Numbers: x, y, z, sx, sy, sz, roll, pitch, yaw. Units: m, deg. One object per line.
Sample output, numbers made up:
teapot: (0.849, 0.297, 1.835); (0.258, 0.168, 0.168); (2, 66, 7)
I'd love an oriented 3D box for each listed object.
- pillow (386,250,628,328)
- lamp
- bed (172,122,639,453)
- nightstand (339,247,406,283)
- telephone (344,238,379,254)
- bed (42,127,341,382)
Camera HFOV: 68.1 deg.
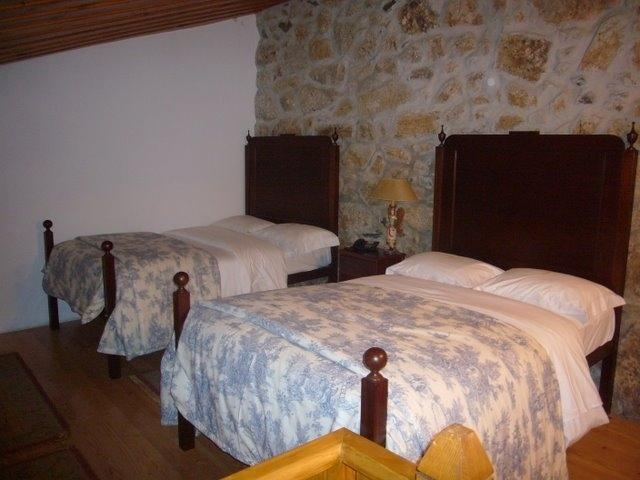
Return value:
pillow: (1.291, 0.306, 3.390); (1.369, 0.257, 0.535); (12, 17, 38)
lamp: (0.660, -0.215, 4.274); (0.430, 0.597, 0.461); (0, -3, 27)
bed: (1.237, 0.230, 4.316); (2.968, 2.434, 2.308); (-10, 15, -40)
nightstand: (0.456, 0.188, 4.372); (0.330, 0.434, 0.457); (-10, 17, -33)
telephone: (0.406, 0.061, 4.448); (0.211, 0.066, 0.157); (4, 30, 30)
bed: (-1.039, -0.216, 5.148); (2.955, 2.218, 1.924); (-9, 17, -38)
